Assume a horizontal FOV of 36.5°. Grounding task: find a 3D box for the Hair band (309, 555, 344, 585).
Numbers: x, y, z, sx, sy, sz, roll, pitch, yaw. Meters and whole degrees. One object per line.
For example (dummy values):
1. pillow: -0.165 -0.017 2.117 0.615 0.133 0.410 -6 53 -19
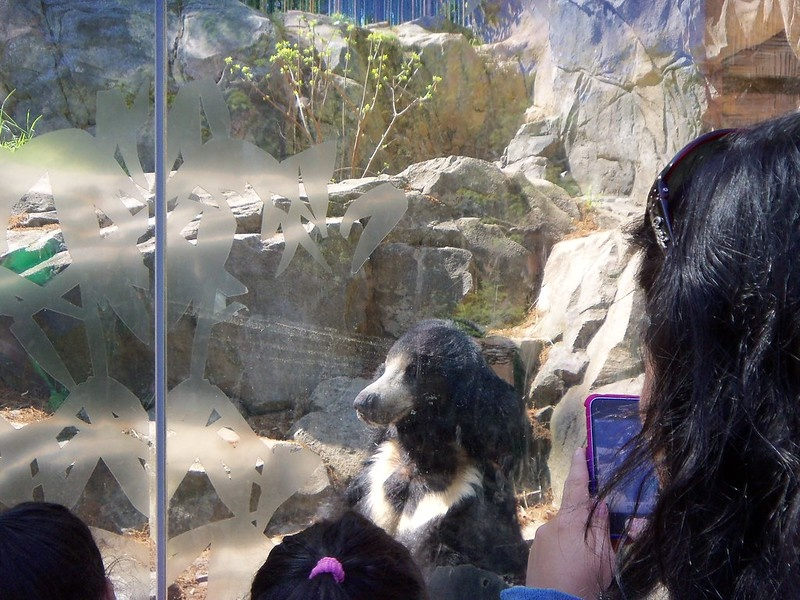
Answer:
1. Hair band: -0.143 0.541 2.421 0.047 0.030 0.045 0 -4 -22
